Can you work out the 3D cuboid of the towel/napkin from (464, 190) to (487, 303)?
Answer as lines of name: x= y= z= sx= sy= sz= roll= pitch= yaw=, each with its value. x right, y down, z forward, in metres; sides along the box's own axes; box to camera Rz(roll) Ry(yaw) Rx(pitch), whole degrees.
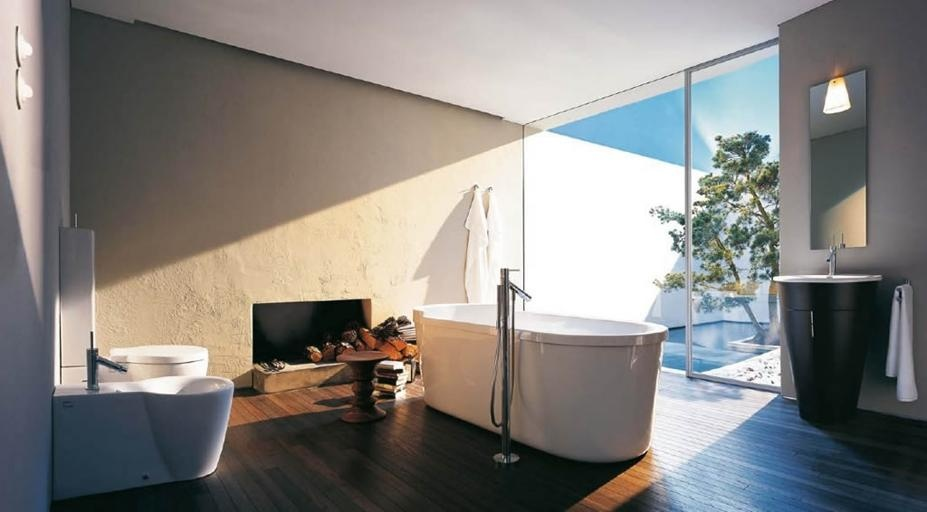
towel/napkin: x=0.155 y=-0.152 z=7.940 sx=0.306 sy=1.572 sz=0.226 roll=0 pitch=1 yaw=2

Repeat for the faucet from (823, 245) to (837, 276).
faucet: x=3.690 y=0.050 z=5.876 sx=0.108 sy=0.294 sz=0.177 roll=1 pitch=1 yaw=32

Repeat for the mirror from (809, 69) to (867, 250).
mirror: x=3.800 y=-0.914 z=5.955 sx=0.016 sy=1.744 sz=0.559 roll=-4 pitch=3 yaw=-31

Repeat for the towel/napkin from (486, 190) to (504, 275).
towel/napkin: x=0.398 y=-0.280 z=8.123 sx=0.194 sy=1.304 sz=0.280 roll=0 pitch=1 yaw=2

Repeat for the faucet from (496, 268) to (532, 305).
faucet: x=0.430 y=0.274 z=5.267 sx=0.256 sy=0.292 sz=0.562 roll=0 pitch=-1 yaw=3

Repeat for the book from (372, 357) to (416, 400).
book: x=-0.778 y=1.376 z=6.595 sx=0.353 sy=0.173 sz=0.479 roll=0 pitch=0 yaw=6

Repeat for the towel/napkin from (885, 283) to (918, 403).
towel/napkin: x=4.115 y=0.820 z=5.506 sx=0.239 sy=1.083 sz=0.106 roll=0 pitch=1 yaw=1
